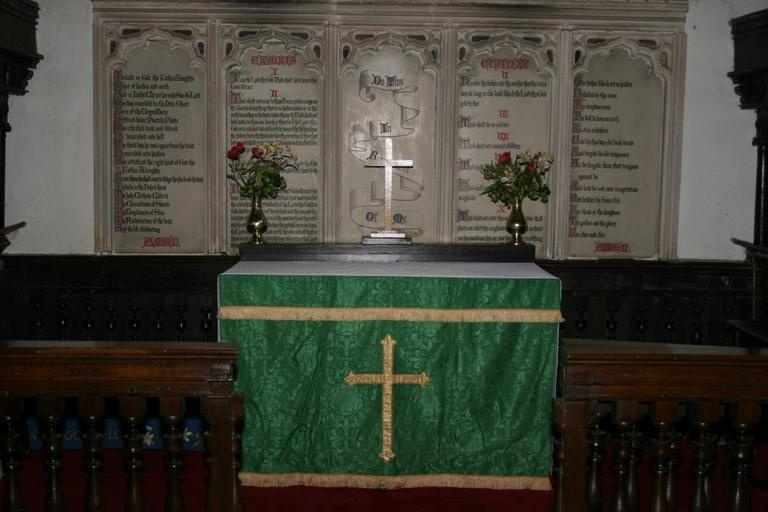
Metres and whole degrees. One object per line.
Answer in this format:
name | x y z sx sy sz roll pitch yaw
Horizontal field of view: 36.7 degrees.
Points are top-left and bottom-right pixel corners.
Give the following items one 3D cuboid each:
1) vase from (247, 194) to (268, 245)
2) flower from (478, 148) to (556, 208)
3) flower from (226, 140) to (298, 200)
vase | -1.080 -0.308 9.836 0.171 0.404 0.355 0 0 -11
flower | 1.188 -0.680 10.257 0.659 0.507 0.737 0 0 5
flower | -1.059 -0.733 10.127 0.555 0.600 0.600 0 -6 -26
